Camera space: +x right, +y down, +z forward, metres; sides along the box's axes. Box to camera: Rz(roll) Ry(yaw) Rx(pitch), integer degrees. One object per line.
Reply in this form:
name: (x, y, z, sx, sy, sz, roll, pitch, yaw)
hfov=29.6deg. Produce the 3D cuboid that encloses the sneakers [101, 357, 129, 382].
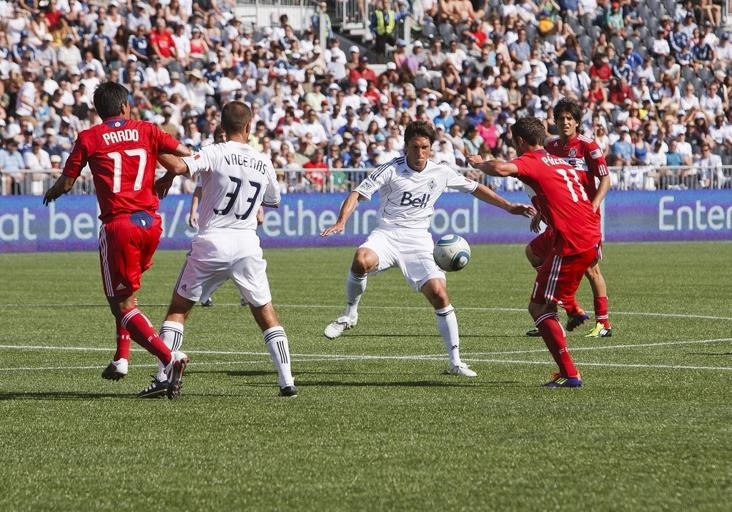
sneakers: (-2.680, 1.209, 14.800, 0.136, 0.177, 0.370, 12, -19, -32)

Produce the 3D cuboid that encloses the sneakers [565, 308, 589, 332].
sneakers: (2.602, 0.806, 17.375, 0.217, 0.162, 0.440, 34, -24, -8)

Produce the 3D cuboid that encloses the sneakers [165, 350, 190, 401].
sneakers: (-1.978, 1.240, 14.514, 0.279, 0.518, 0.180, 11, 25, 7)

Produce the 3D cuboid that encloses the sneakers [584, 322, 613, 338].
sneakers: (2.975, 0.933, 17.577, 0.419, 0.175, 0.139, -5, -5, 25)

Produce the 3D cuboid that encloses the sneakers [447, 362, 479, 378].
sneakers: (1.062, 1.252, 15.459, 0.284, 0.125, 0.153, 1, 9, 0)

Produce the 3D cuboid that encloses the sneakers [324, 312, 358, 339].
sneakers: (-0.315, 0.834, 16.835, 0.190, 0.233, 0.538, 21, 31, 38)

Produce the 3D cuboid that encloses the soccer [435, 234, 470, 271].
soccer: (0.984, -0.014, 16.600, 0.418, 0.406, 0.418, -10, 17, -23)

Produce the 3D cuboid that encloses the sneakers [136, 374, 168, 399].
sneakers: (-2.231, 1.372, 14.628, 0.484, 0.233, 0.159, -6, -12, 34)

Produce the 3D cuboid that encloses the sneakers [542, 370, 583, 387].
sneakers: (2.133, 1.315, 15.071, 0.453, 0.172, 0.160, 2, -2, 8)

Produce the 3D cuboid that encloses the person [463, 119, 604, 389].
person: (2.008, -0.080, 15.362, 1.165, 2.903, 0.975, 0, 4, 10)
